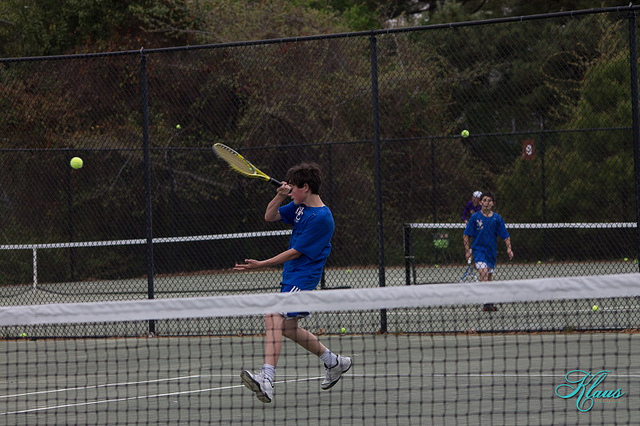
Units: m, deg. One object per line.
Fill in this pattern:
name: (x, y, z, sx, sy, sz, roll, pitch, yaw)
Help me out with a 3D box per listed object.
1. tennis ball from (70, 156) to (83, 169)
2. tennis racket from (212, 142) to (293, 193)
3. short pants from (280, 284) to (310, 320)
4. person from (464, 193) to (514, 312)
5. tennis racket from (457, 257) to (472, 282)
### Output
tennis ball: (-4.174, -0.865, 17.162, 0.171, 0.194, 0.172, -8, 8, 1)
tennis racket: (-1.053, -0.750, 16.330, 1.325, 0.117, 0.351, 33, 2, 20)
short pants: (-0.320, 1.095, 12.467, 0.204, 0.320, 0.380, -9, -2, 41)
person: (2.718, 0.401, 16.346, 0.762, 1.330, 0.545, -1, 4, 28)
tennis racket: (2.347, 0.900, 16.275, 0.242, 0.352, 0.822, -3, 4, 9)
